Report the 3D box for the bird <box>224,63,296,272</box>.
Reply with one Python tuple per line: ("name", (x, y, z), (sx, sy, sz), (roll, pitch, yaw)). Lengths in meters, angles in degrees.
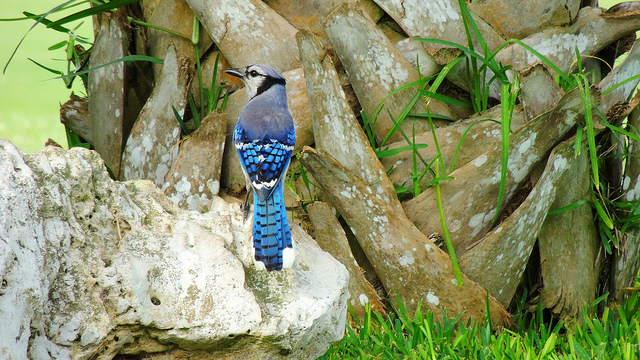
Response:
("bird", (-0.383, -0.074, 6.024), (0.412, 1.438, 0.803), (1, -27, -10))
